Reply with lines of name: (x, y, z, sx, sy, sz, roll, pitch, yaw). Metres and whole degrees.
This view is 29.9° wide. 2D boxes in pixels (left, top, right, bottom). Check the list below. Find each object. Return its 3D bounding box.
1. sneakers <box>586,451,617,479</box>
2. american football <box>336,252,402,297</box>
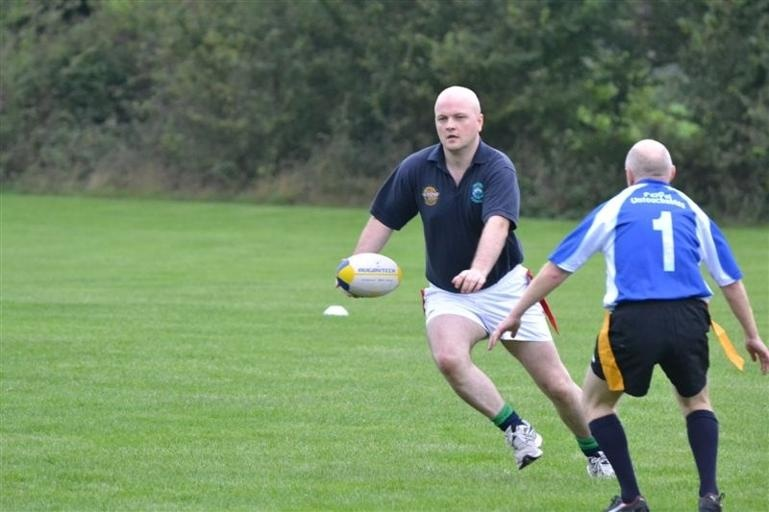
sneakers: (2.176, 2.083, 14.459, 0.151, 0.166, 0.406, 3, 4, 22)
american football: (-0.161, 0.165, 14.477, 0.627, 0.349, 0.383, 0, -7, -7)
